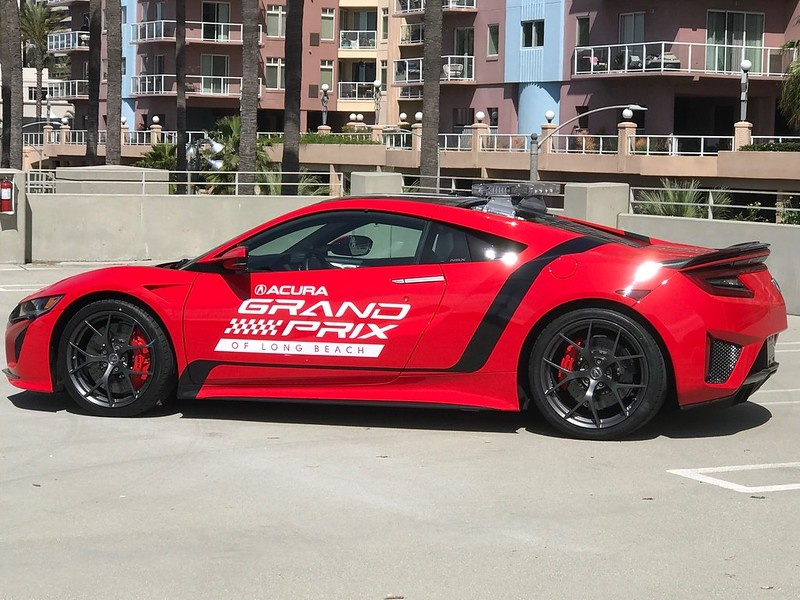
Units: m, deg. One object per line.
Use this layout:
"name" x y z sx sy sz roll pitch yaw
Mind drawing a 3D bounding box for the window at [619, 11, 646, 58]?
"window" 11.970 -13.664 40.545 1.227 2.686 1.895 2 7 10

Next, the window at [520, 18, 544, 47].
"window" 7.660 -15.614 45.422 0.202 1.689 1.828 -5 6 -35

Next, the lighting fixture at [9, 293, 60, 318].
"lighting fixture" -2.996 0.053 6.410 0.377 0.238 0.106 -5 -15 16

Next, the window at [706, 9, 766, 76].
"window" 17.031 -13.202 40.034 3.462 3.202 0.788 -2 8 -18

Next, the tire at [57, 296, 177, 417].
"tire" -2.254 0.410 6.289 0.801 0.876 0.298 -8 -2 13
